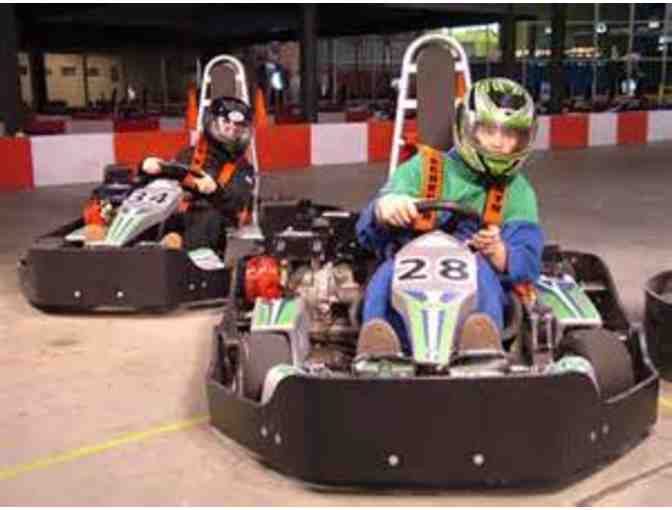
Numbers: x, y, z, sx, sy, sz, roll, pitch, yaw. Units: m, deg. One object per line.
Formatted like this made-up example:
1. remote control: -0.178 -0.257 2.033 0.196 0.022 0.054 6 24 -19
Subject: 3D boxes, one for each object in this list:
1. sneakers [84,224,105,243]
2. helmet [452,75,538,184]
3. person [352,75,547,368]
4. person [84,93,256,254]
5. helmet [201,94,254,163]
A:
1. sneakers: -1.157 -0.108 2.673 0.094 0.064 0.407 -8 16 -22
2. helmet: 0.531 -0.443 1.862 0.242 0.317 0.339 8 26 2
3. person: 0.351 -0.167 1.744 0.546 0.746 0.779 5 16 26
4. person: -0.746 -0.376 2.856 0.452 0.782 1.033 9 19 12
5. helmet: -0.592 -0.718 3.093 0.260 0.335 0.333 3 13 -22
